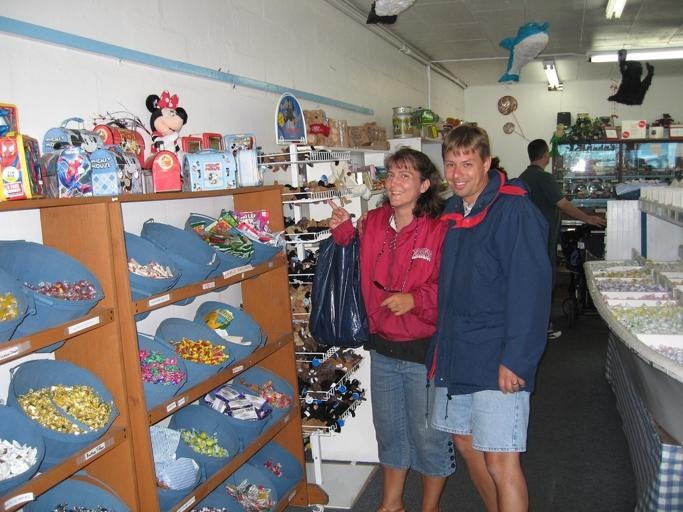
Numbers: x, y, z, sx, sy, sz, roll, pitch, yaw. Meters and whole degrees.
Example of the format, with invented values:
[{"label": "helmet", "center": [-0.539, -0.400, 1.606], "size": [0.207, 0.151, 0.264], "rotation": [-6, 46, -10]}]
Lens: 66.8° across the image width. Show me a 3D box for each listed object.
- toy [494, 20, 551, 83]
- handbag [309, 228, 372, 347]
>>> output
[{"label": "toy", "center": [1.850, -2.101, 5.313], "size": [0.423, 0.482, 1.004], "rotation": [0, 11, 17]}, {"label": "handbag", "center": [-0.031, 0.231, 2.959], "size": [0.333, 0.639, 0.230], "rotation": [3, 22, 8]}]
